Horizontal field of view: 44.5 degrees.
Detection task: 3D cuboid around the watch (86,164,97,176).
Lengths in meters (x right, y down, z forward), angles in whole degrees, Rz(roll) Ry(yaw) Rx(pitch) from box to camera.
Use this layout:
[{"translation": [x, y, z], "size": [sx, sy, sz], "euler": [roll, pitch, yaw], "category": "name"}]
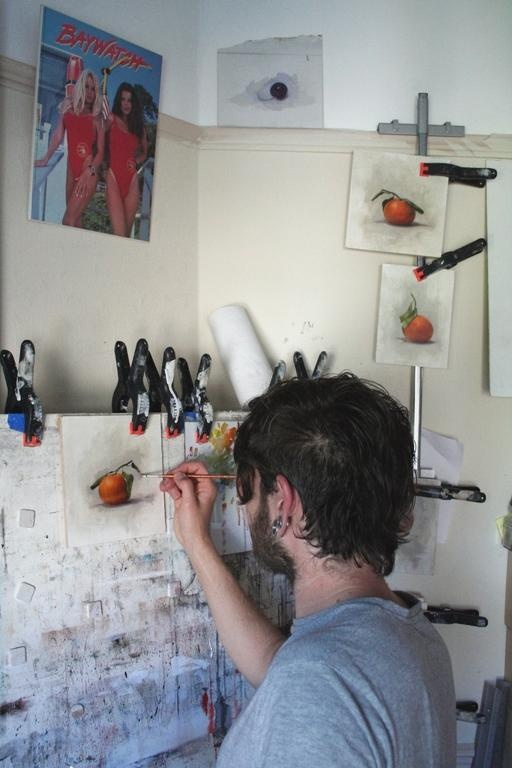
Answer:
[{"translation": [-0.346, -0.449, 1.317], "size": [0.014, 0.023, 0.020], "euler": [-6, 13, -37], "category": "watch"}]
